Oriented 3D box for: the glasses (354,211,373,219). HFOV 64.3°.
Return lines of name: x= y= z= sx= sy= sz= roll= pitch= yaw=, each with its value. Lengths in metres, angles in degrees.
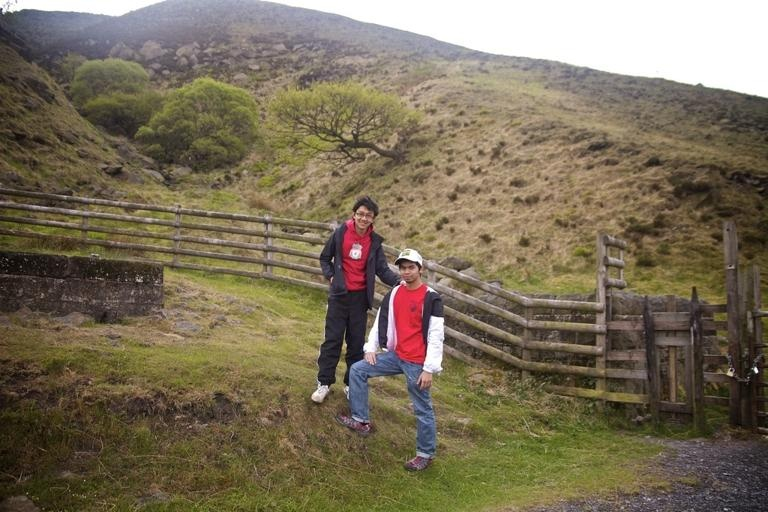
glasses: x=-0.385 y=-0.803 z=12.018 sx=0.359 sy=0.146 sz=0.098 roll=8 pitch=-6 yaw=-5
